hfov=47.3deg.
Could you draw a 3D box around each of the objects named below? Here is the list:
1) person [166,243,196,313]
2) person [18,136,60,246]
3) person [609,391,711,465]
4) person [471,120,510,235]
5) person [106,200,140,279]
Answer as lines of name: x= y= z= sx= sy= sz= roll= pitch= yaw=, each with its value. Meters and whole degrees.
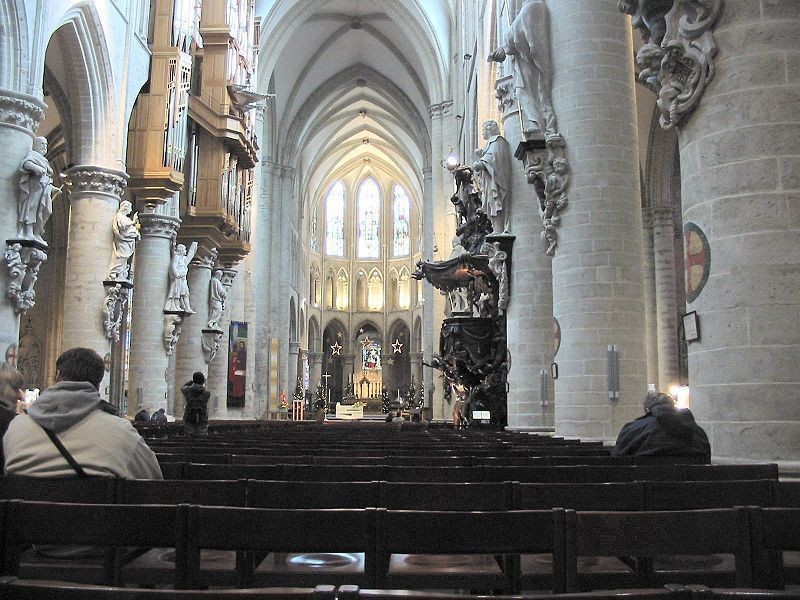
person: x=-5.632 y=-0.557 z=23.048 sx=0.581 sy=1.950 sz=0.861 roll=1 pitch=-11 yaw=-3
person: x=-5.986 y=-1.689 z=14.872 sx=0.362 sy=1.542 sz=0.648 roll=-2 pitch=-11 yaw=12
person: x=2.439 y=1.197 z=8.266 sx=0.900 sy=0.698 sz=0.619 roll=5 pitch=-14 yaw=-11
person: x=1.727 y=-2.136 z=16.927 sx=0.689 sy=1.826 sz=0.541 roll=4 pitch=-11 yaw=-19
person: x=-5.826 y=-1.186 z=19.023 sx=0.436 sy=1.685 sz=0.621 roll=-2 pitch=-11 yaw=12
